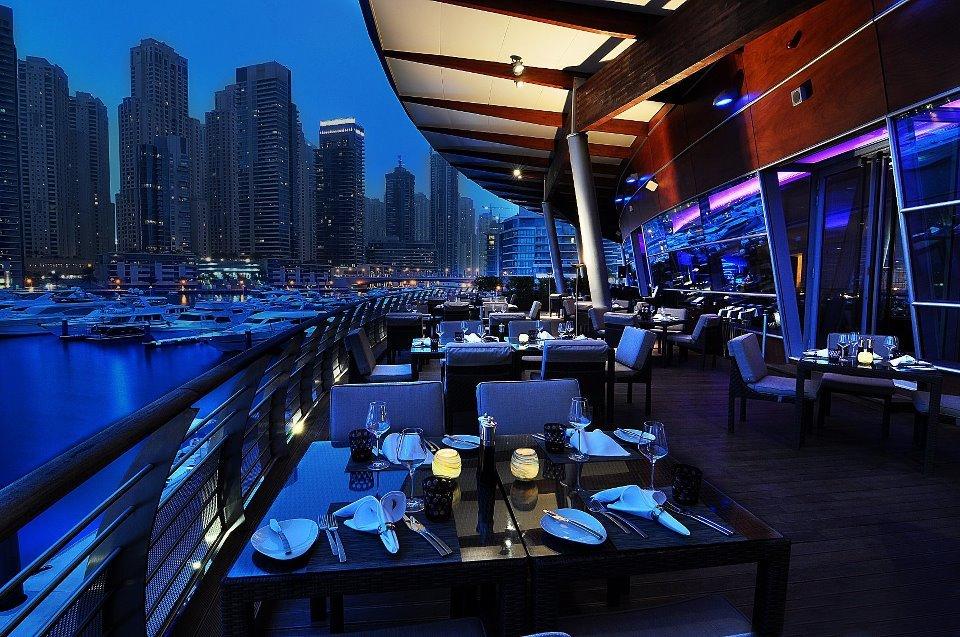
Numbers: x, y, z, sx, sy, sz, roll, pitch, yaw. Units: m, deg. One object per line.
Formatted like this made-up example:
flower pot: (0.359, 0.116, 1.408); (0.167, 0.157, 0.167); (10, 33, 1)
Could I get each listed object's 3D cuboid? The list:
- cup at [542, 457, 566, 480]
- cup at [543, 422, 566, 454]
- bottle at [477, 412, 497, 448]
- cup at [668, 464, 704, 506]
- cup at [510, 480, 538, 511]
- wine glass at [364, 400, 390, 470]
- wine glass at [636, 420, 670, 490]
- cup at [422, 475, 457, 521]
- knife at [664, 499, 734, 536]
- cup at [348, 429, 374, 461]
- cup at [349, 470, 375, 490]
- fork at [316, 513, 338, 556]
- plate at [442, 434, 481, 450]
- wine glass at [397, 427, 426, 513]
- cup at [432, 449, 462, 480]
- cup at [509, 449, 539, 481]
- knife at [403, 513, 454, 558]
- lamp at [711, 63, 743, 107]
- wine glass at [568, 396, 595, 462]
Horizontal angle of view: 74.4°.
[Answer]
cup: (0.579, 1.168, 4.925); (0.177, 0.112, 0.199); (-2, 4, 4)
cup: (0.601, 0.967, 5.087); (0.194, 0.208, 0.208); (0, 0, 0)
bottle: (0.062, 0.872, 4.879); (0.119, 0.227, 0.195); (-3, 4, -7)
cup: (1.552, 1.221, 4.793); (0.260, 0.278, 0.258); (1, 5, 0)
cup: (0.331, 1.318, 4.712); (0.211, 0.157, 0.226); (-2, 4, 0)
wine glass: (-0.807, 0.901, 4.972); (0.157, 0.501, 0.194); (-3, 4, -12)
wine glass: (1.339, 1.023, 4.881); (0.208, 0.485, 0.367); (-1, 4, 13)
cup: (-0.280, 1.275, 4.635); (0.267, 0.271, 0.256); (5, 14, -1)
knife: (1.582, 1.447, 4.569); (0.354, 0.053, 0.062); (30, 48, 34)
cup: (-0.947, 0.985, 5.075); (0.230, 0.205, 0.246); (-1, 8, 0)
cup: (-0.903, 1.234, 4.819); (0.186, 0.103, 0.188); (-2, 4, 0)
fork: (-1.084, 1.516, 4.475); (0.089, 0.041, 0.372); (-16, 38, -11)
plate: (-0.164, 1.009, 5.186); (0.303, 0.106, 0.311); (-3, 4, -5)
wine glass: (-0.511, 1.119, 4.755); (0.183, 0.567, 0.371); (-3, 4, -6)
cup: (-0.251, 1.095, 4.749); (0.214, 0.198, 0.213); (-1, 15, 0)
cup: (0.341, 1.097, 4.893); (0.221, 0.210, 0.217); (0, 14, 0)
knife: (-0.373, 1.529, 4.465); (0.142, 0.043, 0.525); (-33, 40, -27)
lamp: (3.778, -3.488, 9.648); (0.167, 0.530, 0.669); (-3, 4, -10)
wine glass: (0.821, 0.864, 5.125); (0.180, 0.468, 0.249); (-2, 4, 9)
